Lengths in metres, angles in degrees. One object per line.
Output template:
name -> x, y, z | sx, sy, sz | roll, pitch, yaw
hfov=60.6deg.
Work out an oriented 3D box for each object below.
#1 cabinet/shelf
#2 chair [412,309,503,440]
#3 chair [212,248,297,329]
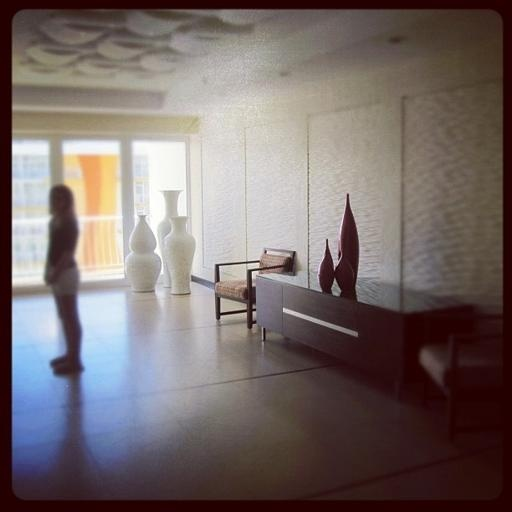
cabinet/shelf -> 0.378, 0.259, 1.573 | 0.769, 0.371, 0.250 | 1, 5, 2
chair -> 0.752, 0.408, 1.793 | 0.331, 0.588, 0.411 | 0, 2, -1
chair -> -0.004, 0.077, 1.568 | 0.276, 0.364, 0.241 | -4, 6, -39
